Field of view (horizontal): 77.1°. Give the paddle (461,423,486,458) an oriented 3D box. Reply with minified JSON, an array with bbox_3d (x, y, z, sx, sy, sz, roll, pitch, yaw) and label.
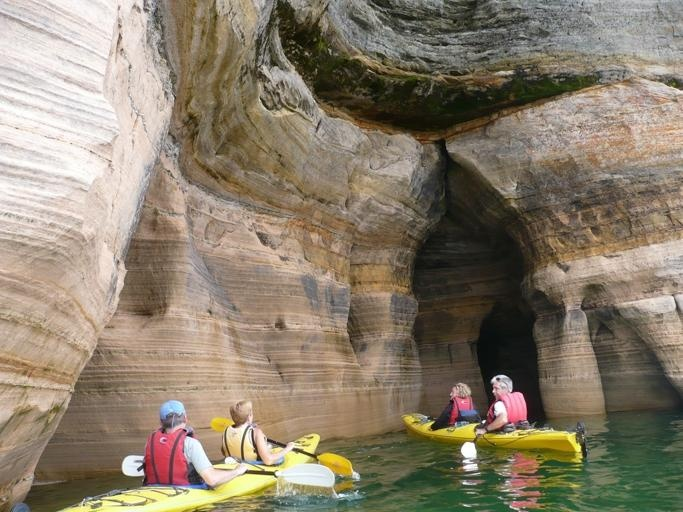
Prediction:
[{"bbox_3d":[1.823,2.571,5.971,0.224,0.079,0.656,23,17,22],"label":"paddle"}]

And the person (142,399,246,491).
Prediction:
[{"bbox_3d":[-1.295,1.755,4.135,0.791,0.458,0.981,-3,-12,14],"label":"person"}]
